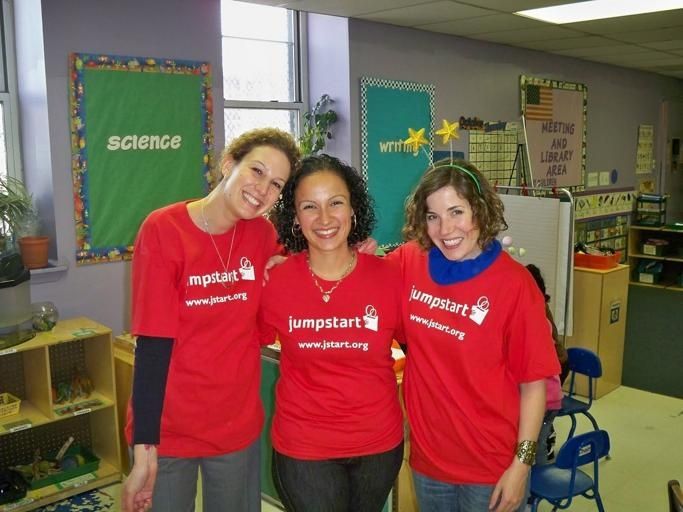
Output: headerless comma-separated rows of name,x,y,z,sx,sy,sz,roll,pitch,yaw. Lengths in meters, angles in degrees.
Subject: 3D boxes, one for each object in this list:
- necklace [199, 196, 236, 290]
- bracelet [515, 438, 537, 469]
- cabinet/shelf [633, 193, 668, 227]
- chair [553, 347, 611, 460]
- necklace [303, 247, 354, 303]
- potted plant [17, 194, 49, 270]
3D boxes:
necklace,-0.514,-0.055,2.463,0.150,0.453,0.013,1,-37,-23
bracelet,0.764,0.810,2.357,0.076,0.095,0.098,2,-9,20
cabinet/shelf,5.293,-0.788,9.751,0.470,0.523,0.259,8,12,43
chair,1.796,1.144,4.524,0.444,0.800,0.472,-4,3,-24
necklace,-0.056,0.089,2.457,0.158,0.181,0.063,4,-19,6
potted plant,-2.364,-0.182,4.410,0.210,0.512,0.300,2,12,5
